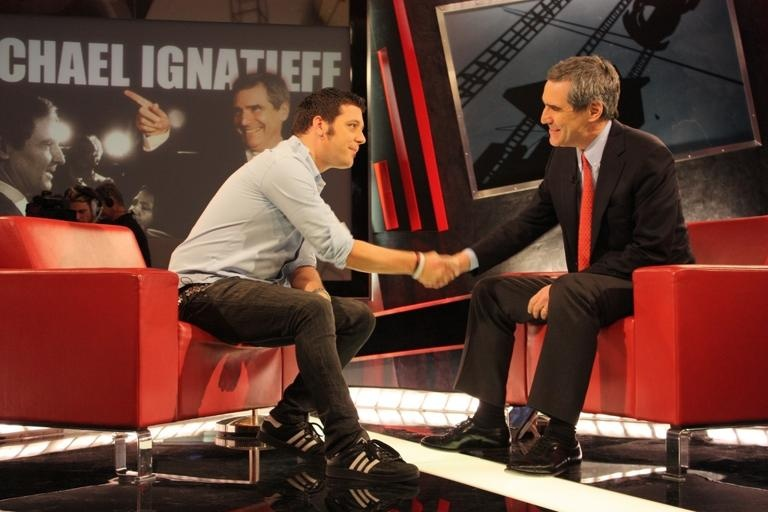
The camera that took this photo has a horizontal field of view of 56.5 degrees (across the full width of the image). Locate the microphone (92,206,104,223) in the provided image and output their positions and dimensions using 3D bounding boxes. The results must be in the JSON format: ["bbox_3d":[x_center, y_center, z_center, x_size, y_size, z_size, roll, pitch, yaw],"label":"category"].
[{"bbox_3d":[-1.803,-0.269,4.548,0.066,0.076,0.085,3,3,6],"label":"microphone"}]

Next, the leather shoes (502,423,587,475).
[{"bbox_3d":[0.705,0.842,3.125,0.365,0.243,0.162,5,-9,-36],"label":"leather shoes"}]

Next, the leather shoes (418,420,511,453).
[{"bbox_3d":[0.382,0.843,3.358,0.397,0.138,0.143,1,-8,5],"label":"leather shoes"}]

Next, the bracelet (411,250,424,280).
[{"bbox_3d":[0.165,0.044,3.352,0.040,0.103,0.089,6,-3,-18],"label":"bracelet"}]
